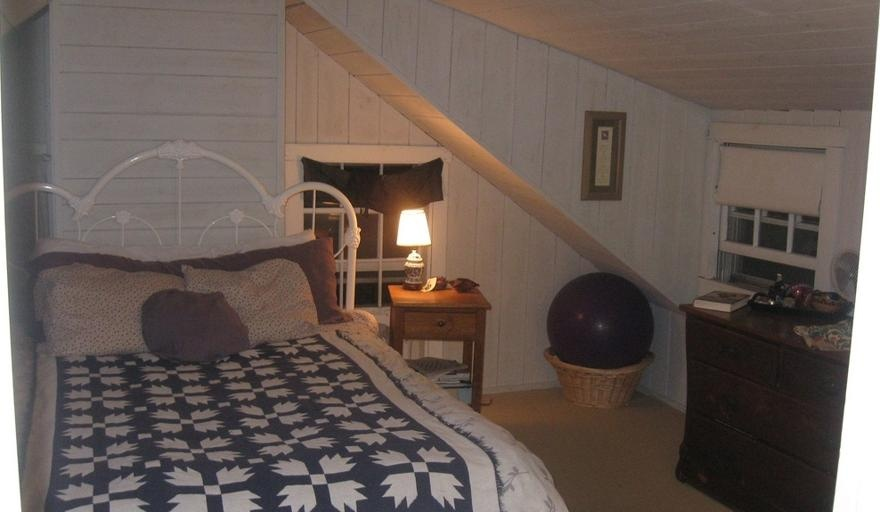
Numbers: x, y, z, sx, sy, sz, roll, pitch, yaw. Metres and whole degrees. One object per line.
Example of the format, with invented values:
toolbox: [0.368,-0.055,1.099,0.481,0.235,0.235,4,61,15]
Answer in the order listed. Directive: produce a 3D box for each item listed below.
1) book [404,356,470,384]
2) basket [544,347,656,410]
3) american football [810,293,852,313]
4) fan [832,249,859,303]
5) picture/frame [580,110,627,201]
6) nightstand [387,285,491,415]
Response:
book: [0.029,0.849,4.872,0.300,0.082,0.293,0,3,-43]
basket: [1.255,0.986,5.381,0.811,0.336,0.852,0,4,-34]
american football: [2.322,0.285,3.902,0.123,0.045,0.156,1,9,7]
fan: [2.438,0.119,3.949,0.115,0.303,0.140,2,7,24]
picture/frame: [1.144,-0.694,4.571,0.052,0.606,0.367,-10,16,-35]
nightstand: [-0.031,0.700,5.003,0.768,0.885,0.696,-1,14,-13]
